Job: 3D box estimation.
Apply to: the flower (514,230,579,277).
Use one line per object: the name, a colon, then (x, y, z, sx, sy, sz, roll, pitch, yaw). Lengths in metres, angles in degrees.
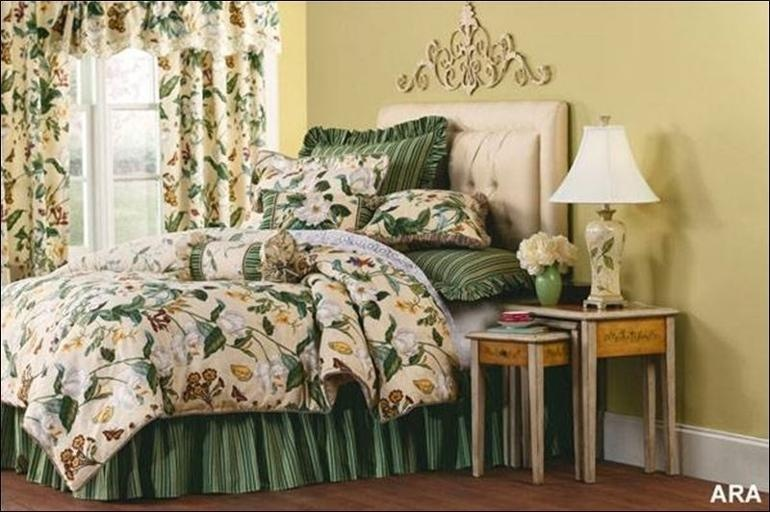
flower: (0.763, 0.026, 3.592, 0.224, 0.128, 0.215, -3, -22, -30)

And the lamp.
lamp: (1.011, -0.191, 3.633, 0.525, 0.897, 0.521, 2, -1, 8)

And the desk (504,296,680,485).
desk: (0.930, 0.554, 3.798, 0.697, 0.885, 0.931, -1, 1, -22)

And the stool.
stool: (0.608, 0.649, 3.461, 0.412, 0.609, 0.426, -3, -3, 33)
